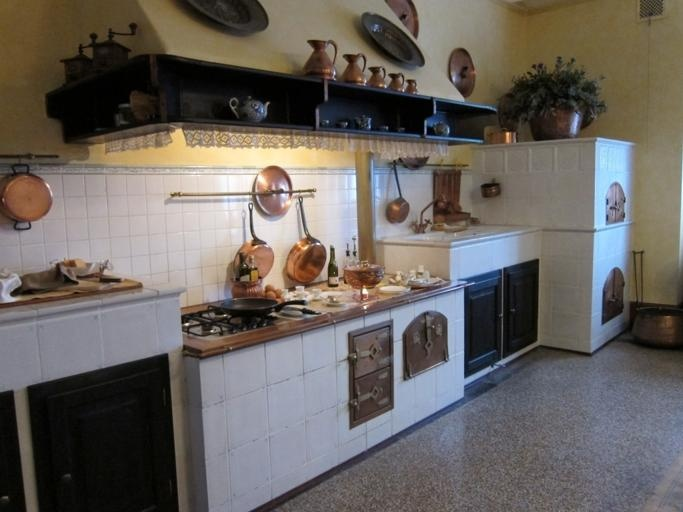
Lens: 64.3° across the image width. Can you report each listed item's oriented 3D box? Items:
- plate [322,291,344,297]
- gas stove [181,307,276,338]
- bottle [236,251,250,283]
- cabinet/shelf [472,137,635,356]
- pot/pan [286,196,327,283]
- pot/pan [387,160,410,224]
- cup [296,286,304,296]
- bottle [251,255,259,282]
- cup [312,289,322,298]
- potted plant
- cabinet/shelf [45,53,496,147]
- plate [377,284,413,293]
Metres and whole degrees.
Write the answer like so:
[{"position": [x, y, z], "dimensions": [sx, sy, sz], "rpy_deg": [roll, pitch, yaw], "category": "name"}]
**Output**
[{"position": [-0.067, 0.282, 4.035], "dimensions": [0.157, 0.024, 0.206], "rpy_deg": [-2, 12, 1], "category": "plate"}, {"position": [-0.743, 0.399, 3.349], "dimensions": [0.620, 0.049, 0.463], "rpy_deg": [3, 13, 21], "category": "gas stove"}, {"position": [-0.687, 0.074, 3.816], "dimensions": [0.084, 0.189, 0.159], "rpy_deg": [-4, 12, -10], "category": "bottle"}, {"position": [2.100, -0.081, 5.404], "dimensions": [1.419, 2.631, 1.939], "rpy_deg": [2, 7, 32], "category": "cabinet/shelf"}, {"position": [-0.285, -0.107, 4.313], "dimensions": [0.143, 0.718, 0.359], "rpy_deg": [7, 14, 36], "category": "pot/pan"}, {"position": [0.552, -0.597, 5.181], "dimensions": [0.137, 0.595, 0.341], "rpy_deg": [5, 13, 31], "category": "pot/pan"}, {"position": [-0.296, 0.247, 3.863], "dimensions": [0.047, 0.045, 0.060], "rpy_deg": [-1, -4, 1], "category": "cup"}, {"position": [-0.611, 0.088, 3.813], "dimensions": [0.051, 0.170, 0.120], "rpy_deg": [-2, 12, -3], "category": "bottle"}, {"position": [-0.176, 0.266, 3.922], "dimensions": [0.060, 0.049, 0.055], "rpy_deg": [-1, 13, 0], "category": "cup"}, {"position": [2.165, -1.621, 5.637], "dimensions": [1.033, 0.822, 0.485], "rpy_deg": [2, 12, 16], "category": "potted plant"}, {"position": [-0.360, -1.008, 3.753], "dimensions": [2.883, 0.498, 0.872], "rpy_deg": [-12, 15, -39], "category": "cabinet/shelf"}, {"position": [0.403, 0.250, 4.148], "dimensions": [0.243, 0.021, 0.234], "rpy_deg": [-1, 12, 2], "category": "plate"}]
